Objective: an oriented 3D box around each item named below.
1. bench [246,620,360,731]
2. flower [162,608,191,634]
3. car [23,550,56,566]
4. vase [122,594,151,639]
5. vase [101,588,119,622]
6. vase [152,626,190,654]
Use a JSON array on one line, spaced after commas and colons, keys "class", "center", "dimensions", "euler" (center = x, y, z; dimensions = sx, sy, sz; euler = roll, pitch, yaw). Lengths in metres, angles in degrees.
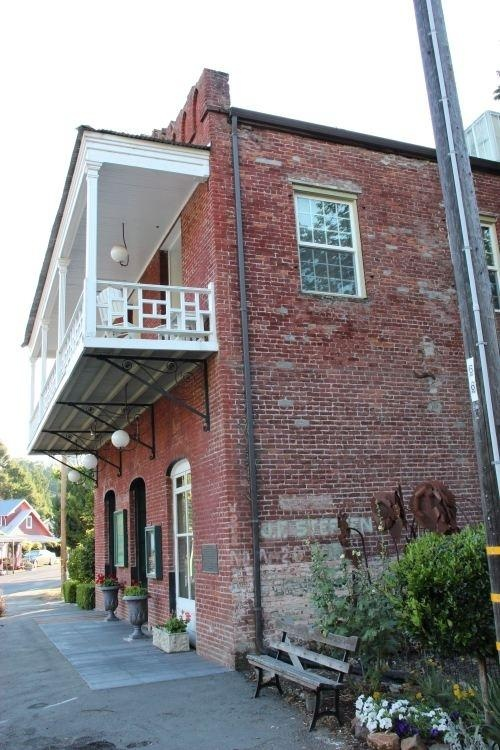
[{"class": "bench", "center": [0.434, 2.707, 5.725], "dimensions": [0.385, 0.696, 1.140], "euler": [9, -14, -30]}, {"class": "flower", "center": [-1.109, 3.720, 9.468], "dimensions": [0.369, 0.277, 0.379], "euler": [-8, -1, -37]}, {"class": "car", "center": [-19.274, 16.689, 57.662], "dimensions": [1.415, 1.236, 3.349], "euler": [-12, -20, 31]}, {"class": "vase", "center": [-1.963, 4.212, 10.983], "dimensions": [0.463, 0.684, 0.492], "euler": [-6, -16, 5]}, {"class": "vase", "center": [-3.112, 5.049, 13.969], "dimensions": [0.337, 0.731, 0.613], "euler": [1, -14, -11]}, {"class": "vase", "center": [-1.206, 3.931, 9.357], "dimensions": [0.357, 0.323, 0.857], "euler": [10, -19, -41]}]
